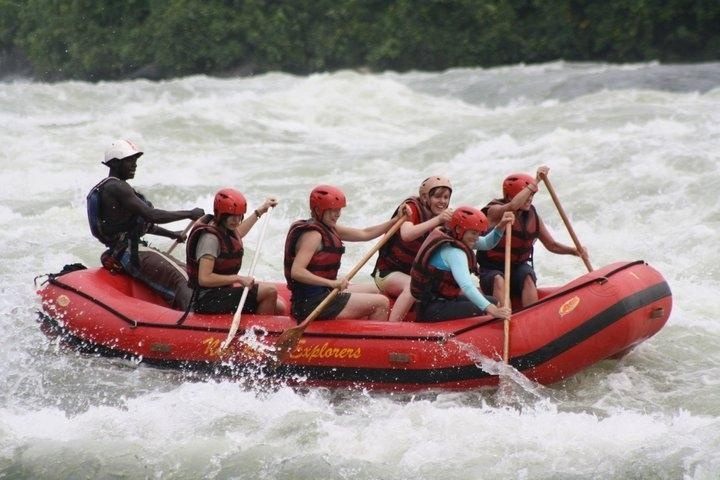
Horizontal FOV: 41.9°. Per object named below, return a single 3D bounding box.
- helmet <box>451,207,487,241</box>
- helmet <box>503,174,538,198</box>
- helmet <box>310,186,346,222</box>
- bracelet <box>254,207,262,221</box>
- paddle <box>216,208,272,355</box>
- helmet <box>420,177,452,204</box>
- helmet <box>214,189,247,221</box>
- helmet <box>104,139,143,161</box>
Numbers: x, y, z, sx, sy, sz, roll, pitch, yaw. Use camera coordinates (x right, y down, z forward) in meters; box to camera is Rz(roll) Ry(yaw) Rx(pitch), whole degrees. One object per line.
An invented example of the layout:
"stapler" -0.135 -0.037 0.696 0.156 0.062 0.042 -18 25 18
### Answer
"helmet" 1.492 -0.249 13.148 0.523 0.385 0.384 15 13 12
"helmet" 2.307 -0.759 13.687 0.422 0.393 0.326 5 28 6
"helmet" -0.449 -0.497 13.376 0.609 0.519 0.451 2 9 24
"bracelet" -1.525 -0.390 13.957 0.128 0.139 0.050 1 2 -18
"paddle" -1.714 0.650 13.677 0.201 2.340 0.166 15 -13 35
"helmet" 1.064 -0.753 13.509 0.343 0.397 0.371 15 8 -3
"helmet" -1.847 -0.505 13.240 0.483 0.361 0.338 14 13 21
"helmet" -3.553 -1.326 13.975 0.490 0.201 0.342 -14 4 15
